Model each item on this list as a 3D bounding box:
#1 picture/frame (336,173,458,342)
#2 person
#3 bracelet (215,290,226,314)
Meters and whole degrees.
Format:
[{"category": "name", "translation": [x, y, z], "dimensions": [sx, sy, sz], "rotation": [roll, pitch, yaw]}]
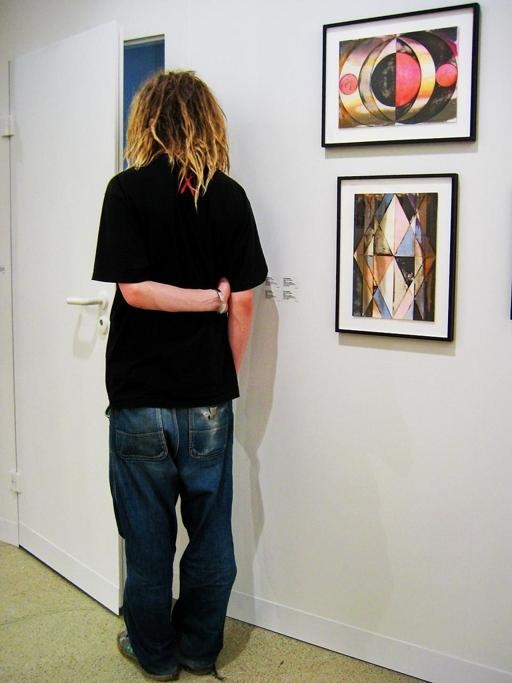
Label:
[{"category": "picture/frame", "translation": [0.366, -0.233, 1.519], "dimensions": [0.287, 0.529, 0.020], "rotation": [1, -30, 17]}, {"category": "person", "translation": [-0.189, 0.143, 1.514], "dimensions": [0.418, 1.644, 0.306], "rotation": [0, 4, -4]}, {"category": "bracelet", "translation": [-0.085, -0.100, 1.451], "dimensions": [0.025, 0.051, 0.049], "rotation": [-3, 31, -5]}]
